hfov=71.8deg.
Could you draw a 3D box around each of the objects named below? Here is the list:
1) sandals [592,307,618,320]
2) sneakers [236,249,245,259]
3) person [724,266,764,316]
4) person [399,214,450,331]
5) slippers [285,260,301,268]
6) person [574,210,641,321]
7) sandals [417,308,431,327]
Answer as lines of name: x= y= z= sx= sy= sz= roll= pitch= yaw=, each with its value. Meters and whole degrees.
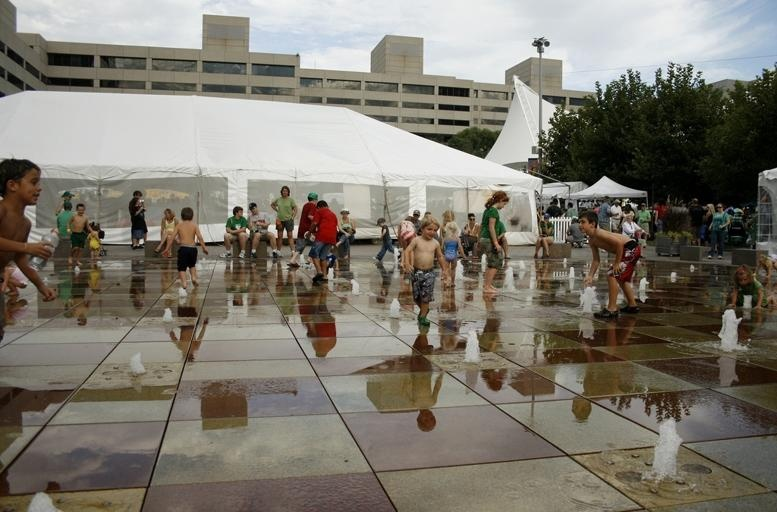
sandals: x=3.443 y=0.909 z=8.439 sx=0.404 sy=0.180 sz=0.165 roll=1 pitch=1 yaw=10
sneakers: x=-4.855 y=-0.041 z=17.658 sx=0.154 sy=0.286 sz=0.393 roll=-5 pitch=-10 yaw=37
person: x=6.246 y=0.507 z=9.320 sx=0.696 sy=0.713 sz=0.598 roll=-18 pitch=15 yaw=-16
person: x=0.571 y=0.177 z=8.449 sx=0.590 sy=1.554 sz=1.794 roll=0 pitch=7 yaw=7
slippers: x=-2.717 y=0.260 z=15.148 sx=0.416 sy=0.144 sz=0.170 roll=2 pitch=-30 yaw=-23
person: x=3.652 y=0.102 z=8.787 sx=0.864 sy=1.684 sz=1.464 roll=2 pitch=7 yaw=26
sandals: x=0.529 y=0.924 z=7.971 sx=0.168 sy=0.220 sz=0.508 roll=0 pitch=-8 yaw=-3
